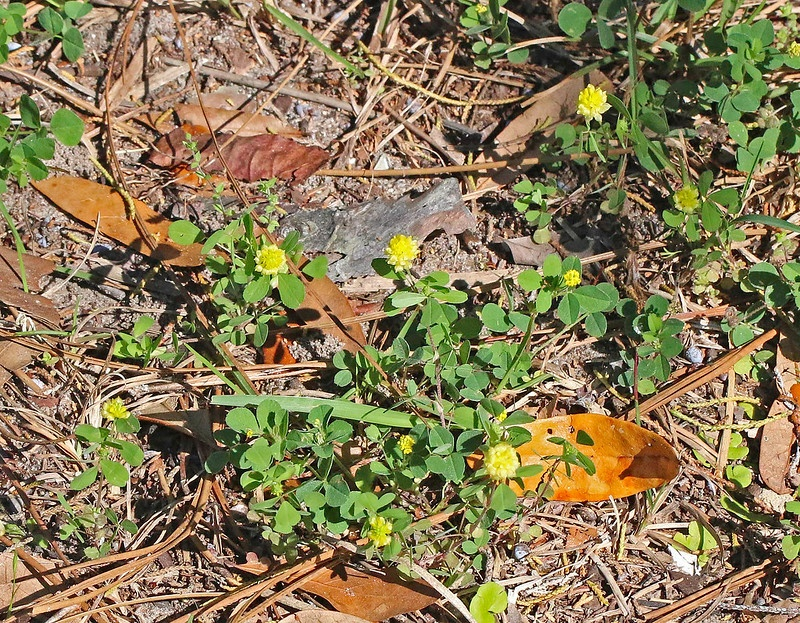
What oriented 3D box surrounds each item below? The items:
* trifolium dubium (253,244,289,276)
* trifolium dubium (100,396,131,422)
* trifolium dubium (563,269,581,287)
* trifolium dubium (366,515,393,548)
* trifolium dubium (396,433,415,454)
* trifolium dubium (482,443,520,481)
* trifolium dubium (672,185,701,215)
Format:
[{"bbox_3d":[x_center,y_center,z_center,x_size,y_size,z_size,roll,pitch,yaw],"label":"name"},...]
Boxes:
[{"bbox_3d":[-0.401,-0.163,2.391,0.102,0.095,0.086,2,57,-7],"label":"trifolium dubium"},{"bbox_3d":[-0.927,0.312,2.468,0.064,0.040,0.078,25,49,-17],"label":"trifolium dubium"},{"bbox_3d":[0.549,-0.104,2.405,0.055,0.026,0.049,13,76,0],"label":"trifolium dubium"},{"bbox_3d":[-0.057,0.637,2.242,0.097,0.033,0.084,-1,73,-4],"label":"trifolium dubium"},{"bbox_3d":[0.026,0.403,2.357,0.052,0.057,0.052,-21,63,-20],"label":"trifolium dubium"},{"bbox_3d":[0.300,0.433,2.232,0.114,0.040,0.100,10,88,3],"label":"trifolium dubium"},{"bbox_3d":[0.979,-0.379,2.587,0.093,0.079,0.085,-4,58,-10],"label":"trifolium dubium"}]
